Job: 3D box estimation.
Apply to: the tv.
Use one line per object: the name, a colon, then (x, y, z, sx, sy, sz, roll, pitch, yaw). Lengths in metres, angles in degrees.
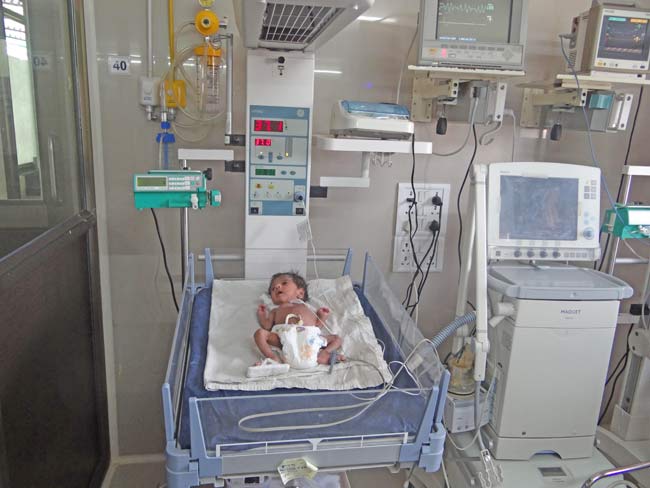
tv: (1.159, -0.186, 2.783, 0.526, 0.505, 0.313, 2, 11, 20)

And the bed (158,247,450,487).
bed: (-0.114, 0.553, 2.217, 0.992, 0.589, 0.876, -4, 14, -9)
